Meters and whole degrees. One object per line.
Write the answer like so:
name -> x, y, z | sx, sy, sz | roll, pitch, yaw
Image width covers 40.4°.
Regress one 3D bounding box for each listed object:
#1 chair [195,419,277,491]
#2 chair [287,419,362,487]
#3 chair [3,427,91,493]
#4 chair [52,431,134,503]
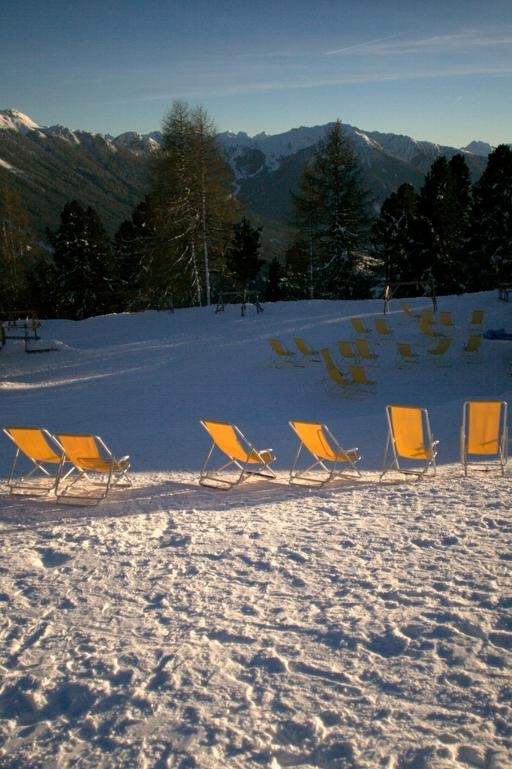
chair -> -0.207, 0.773, 7.786 | 0.668, 0.839, 0.945 | 3, 6, 44
chair -> 0.743, 0.746, 7.698 | 0.891, 0.691, 0.710 | -3, 3, -45
chair -> -2.365, 0.819, 7.596 | 0.755, 0.830, 1.081 | 0, 1, 23
chair -> -1.733, 0.802, 7.294 | 0.680, 0.831, 0.928 | 1, 7, 20
